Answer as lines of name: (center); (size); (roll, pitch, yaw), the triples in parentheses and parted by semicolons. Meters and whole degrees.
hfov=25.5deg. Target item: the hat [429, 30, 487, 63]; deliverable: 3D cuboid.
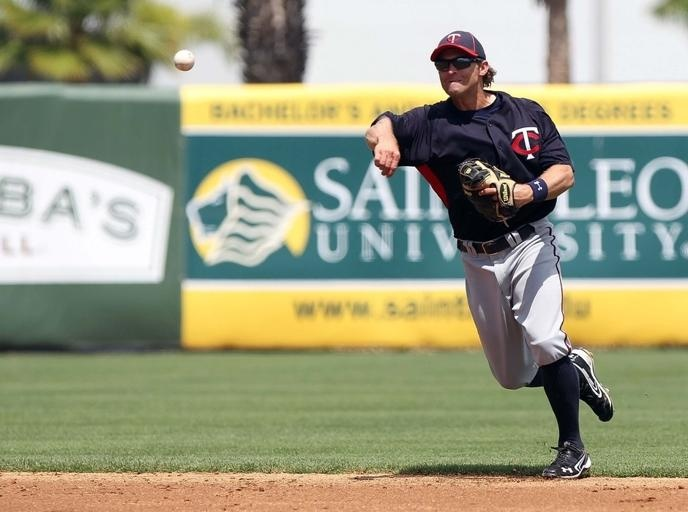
hat: (0.918, -1.692, 12.349); (0.428, 0.239, 0.206); (0, 11, 3)

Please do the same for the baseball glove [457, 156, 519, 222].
baseball glove: (1.186, -0.543, 12.272); (0.382, 0.512, 0.263); (-18, -8, 38)

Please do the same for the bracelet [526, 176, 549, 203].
bracelet: (1.568, -0.531, 12.227); (0.129, 0.160, 0.162); (-10, -8, -12)

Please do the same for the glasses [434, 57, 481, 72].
glasses: (0.926, -1.556, 12.385); (0.378, 0.122, 0.069); (1, 11, 8)

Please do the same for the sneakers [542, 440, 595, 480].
sneakers: (1.844, 1.665, 12.435); (0.216, 0.268, 0.591); (-3, 5, 38)
